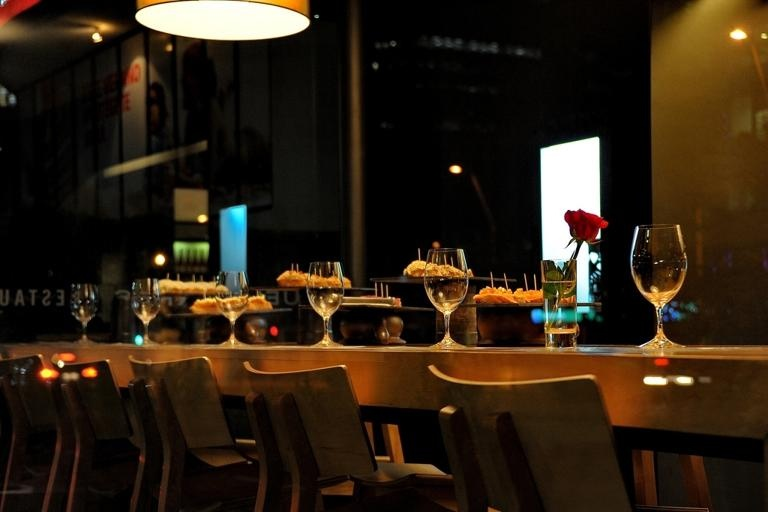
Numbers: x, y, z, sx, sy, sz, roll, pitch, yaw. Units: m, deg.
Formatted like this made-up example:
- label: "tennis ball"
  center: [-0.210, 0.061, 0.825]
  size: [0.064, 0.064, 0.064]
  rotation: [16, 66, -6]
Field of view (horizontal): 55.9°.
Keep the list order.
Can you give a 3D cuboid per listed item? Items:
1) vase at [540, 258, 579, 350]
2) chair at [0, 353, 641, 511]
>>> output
- label: "vase"
  center: [0.621, 0.161, 2.538]
  size: [0.117, 0.307, 0.125]
  rotation: [-2, -3, 11]
- label: "chair"
  center: [-0.220, 0.352, 1.934]
  size: [1.574, 0.228, 0.120]
  rotation: [-2, -4, 28]
